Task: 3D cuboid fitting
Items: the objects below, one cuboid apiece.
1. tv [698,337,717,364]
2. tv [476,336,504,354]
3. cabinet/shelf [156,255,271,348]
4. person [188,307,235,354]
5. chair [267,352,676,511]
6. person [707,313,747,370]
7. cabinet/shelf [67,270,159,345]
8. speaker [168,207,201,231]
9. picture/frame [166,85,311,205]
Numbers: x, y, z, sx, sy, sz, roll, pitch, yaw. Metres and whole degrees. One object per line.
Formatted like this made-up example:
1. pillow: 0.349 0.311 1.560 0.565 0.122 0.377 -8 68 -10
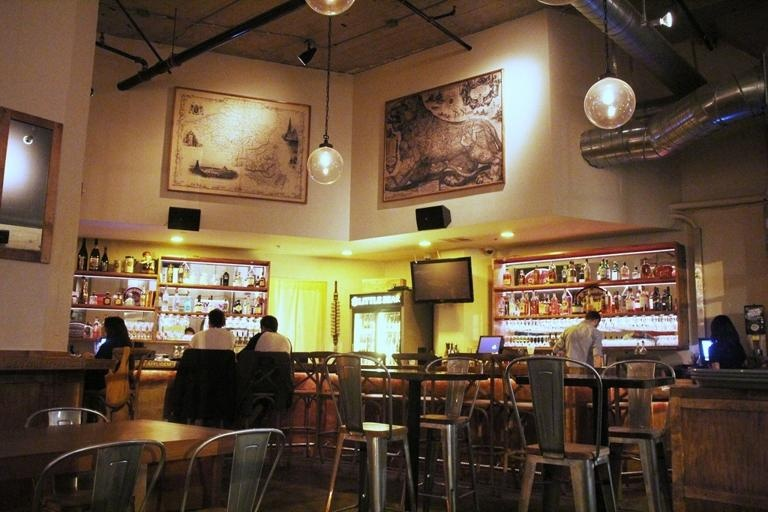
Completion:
1. tv: 4.741 1.404 8.703 0.288 0.441 0.306 0 -6 25
2. tv: 1.685 1.373 9.255 0.308 0.271 0.537 4 -12 -20
3. cabinet/shelf: -3.068 0.817 10.329 1.563 1.287 0.466 3 -14 -17
4. person: -2.199 1.062 7.718 0.673 0.730 0.396 -2 -12 -27
5. chair: 1.179 1.631 5.451 2.749 1.209 2.187 -6 -13 25
6. person: 4.882 1.198 8.479 0.441 0.753 0.557 -6 -13 28
7. cabinet/shelf: -4.575 0.881 9.899 1.333 1.122 0.432 2 -13 -14
8. speaker: -3.209 -0.608 9.502 0.624 0.421 0.334 6 15 -6
9. picture/frame: -2.556 -1.816 9.953 2.006 1.499 0.068 6 -13 -19
